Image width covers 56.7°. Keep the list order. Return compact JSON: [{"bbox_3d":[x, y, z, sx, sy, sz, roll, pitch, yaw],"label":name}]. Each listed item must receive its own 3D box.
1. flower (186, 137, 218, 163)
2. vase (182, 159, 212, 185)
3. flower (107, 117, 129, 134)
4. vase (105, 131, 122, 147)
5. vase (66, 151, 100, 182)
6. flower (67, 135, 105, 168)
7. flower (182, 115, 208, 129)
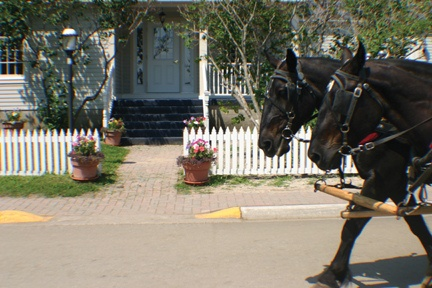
[{"bbox_3d":[-0.395,0.160,10.039,0.531,0.523,0.596,-2,0,10],"label":"flower"},{"bbox_3d":[-0.485,0.700,9.888,0.599,0.415,0.608,1,-1,-2],"label":"vase"},{"bbox_3d":[-3.746,-0.655,14.797,0.565,0.420,0.543,8,4,14],"label":"flower"},{"bbox_3d":[-3.790,-0.179,14.706,0.515,0.390,0.526,4,3,8],"label":"vase"},{"bbox_3d":[-3.402,0.554,10.318,0.861,0.674,0.898,7,4,34],"label":"vase"},{"bbox_3d":[-3.274,0.170,10.057,0.594,0.640,0.867,14,11,44],"label":"flower"},{"bbox_3d":[-0.827,-0.791,15.026,0.693,0.418,0.602,1,6,-5],"label":"flower"}]
